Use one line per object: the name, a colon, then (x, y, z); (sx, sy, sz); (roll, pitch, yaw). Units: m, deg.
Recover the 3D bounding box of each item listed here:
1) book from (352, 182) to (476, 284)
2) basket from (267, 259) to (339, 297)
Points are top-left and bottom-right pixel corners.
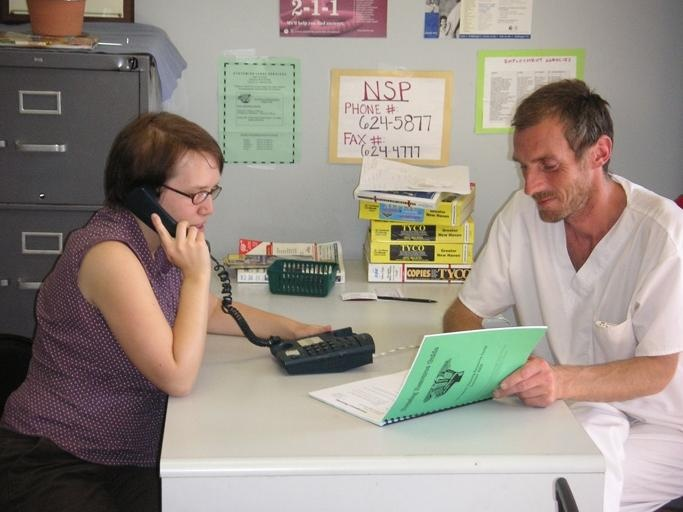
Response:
book: (0.288, -0.107, 2.234); (0.312, 0.214, 0.336); (1, 13, 5)
basket: (-0.136, 0.063, 1.988); (0.171, 0.077, 0.122); (2, 15, 9)
